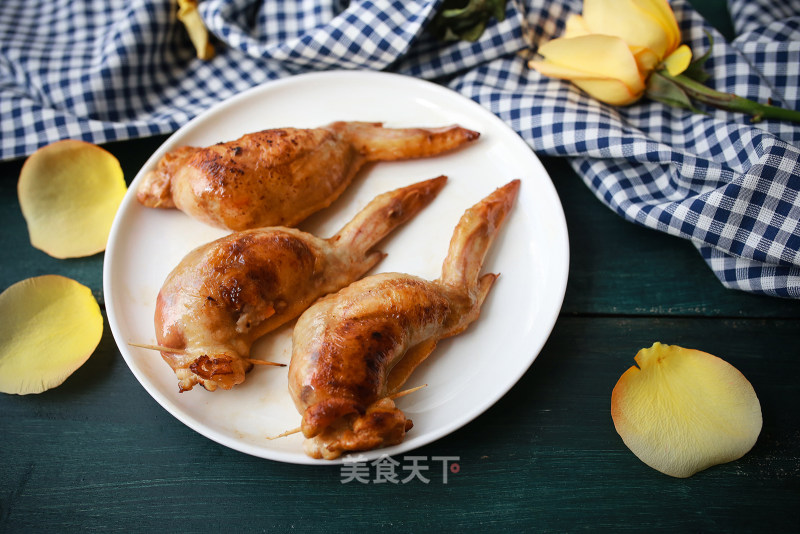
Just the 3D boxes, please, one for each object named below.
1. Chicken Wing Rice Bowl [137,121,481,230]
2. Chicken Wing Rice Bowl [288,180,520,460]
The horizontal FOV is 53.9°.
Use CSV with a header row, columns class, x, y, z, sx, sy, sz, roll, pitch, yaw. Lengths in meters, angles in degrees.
class,x,y,z,sx,sy,sz,roll,pitch,yaw
Chicken Wing Rice Bowl,-0.260,-0.266,2.074,0.657,0.161,0.395,-10,36,-7
Chicken Wing Rice Bowl,0.049,0.084,2.086,0.401,0.269,0.888,43,65,8
